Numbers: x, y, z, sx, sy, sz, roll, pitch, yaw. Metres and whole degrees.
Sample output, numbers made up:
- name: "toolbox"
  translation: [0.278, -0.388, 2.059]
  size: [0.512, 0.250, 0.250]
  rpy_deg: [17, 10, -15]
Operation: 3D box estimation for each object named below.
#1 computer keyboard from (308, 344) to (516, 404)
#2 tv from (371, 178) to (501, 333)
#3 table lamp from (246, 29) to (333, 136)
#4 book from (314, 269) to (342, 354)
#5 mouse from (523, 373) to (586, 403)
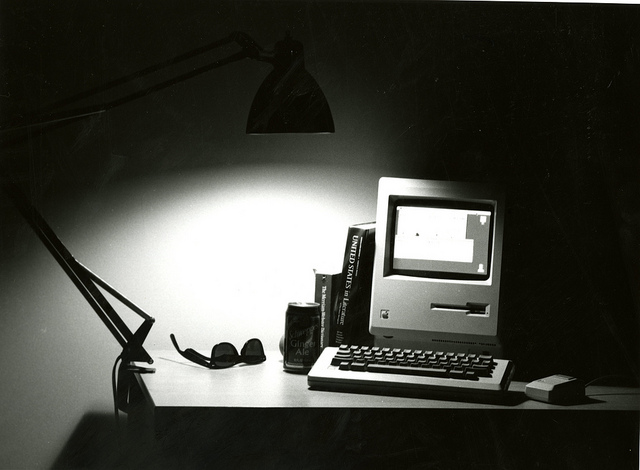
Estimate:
- name: "computer keyboard"
  translation: [0.234, 0.339, 1.442]
  size: [0.466, 0.071, 0.194]
  rpy_deg: [2, 9, 9]
- name: "tv"
  translation: [0.338, 0.022, 1.668]
  size: [0.368, 0.532, 0.290]
  rpy_deg: [1, 33, 5]
- name: "table lamp"
  translation: [-0.090, -0.405, 1.609]
  size: [0.165, 0.264, 0.245]
  rpy_deg: [1, 8, -13]
- name: "book"
  translation: [0.022, 0.217, 1.573]
  size: [0.073, 0.237, 0.195]
  rpy_deg: [-1, -2, 9]
- name: "mouse"
  translation: [0.563, 0.350, 1.388]
  size: [0.110, 0.042, 0.063]
  rpy_deg: [-4, 5, -37]
